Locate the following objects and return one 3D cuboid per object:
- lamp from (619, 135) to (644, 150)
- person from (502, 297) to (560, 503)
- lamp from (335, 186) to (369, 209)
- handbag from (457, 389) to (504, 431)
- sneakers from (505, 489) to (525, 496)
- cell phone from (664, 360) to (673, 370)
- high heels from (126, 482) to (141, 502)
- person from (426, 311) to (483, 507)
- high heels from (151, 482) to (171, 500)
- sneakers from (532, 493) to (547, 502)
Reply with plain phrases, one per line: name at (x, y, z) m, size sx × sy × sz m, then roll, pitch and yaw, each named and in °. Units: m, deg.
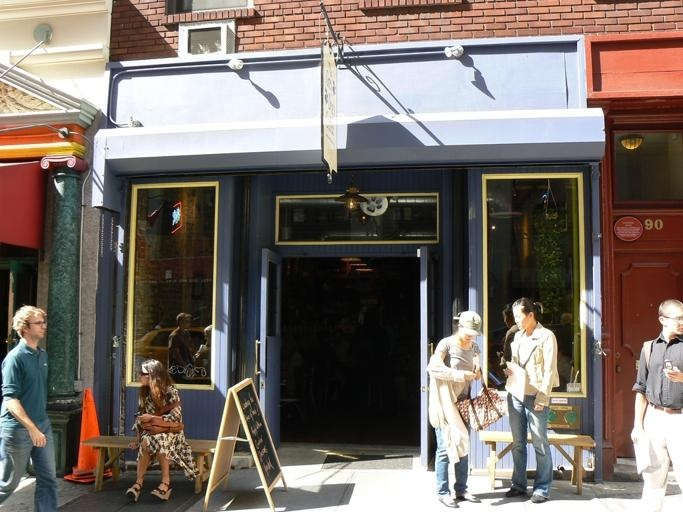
lamp at (3.909, -1.535, 11.051) m, size 0.317 × 0.208 × 0.058 m, roll -3°, pitch 8°, yaw -11°
person at (2.206, 1.765, 9.661) m, size 0.580 × 2.209 × 0.563 m, roll 3°, pitch 9°, yaw 28°
lamp at (0.118, -0.776, 11.340) m, size 0.320 × 0.268 × 0.337 m, roll 0°, pitch -1°, yaw 26°
handbag at (1.618, 1.829, 9.666) m, size 0.488 × 0.517 × 0.215 m, roll -19°, pitch -28°, yaw -18°
sneakers at (2.057, 2.841, 9.729) m, size 0.238 × 0.112 × 0.093 m, roll 3°, pitch -1°, yaw -5°
cell phone at (3.411, 1.127, 8.515) m, size 0.081 × 0.087 × 0.161 m, roll 2°, pitch 10°, yaw 21°
high heels at (-2.495, 2.808, 9.718) m, size 0.100 × 0.129 × 0.321 m, roll 10°, pitch -49°, yaw 1°
person at (1.337, 1.782, 9.564) m, size 0.618 × 2.226 × 0.490 m, roll -4°, pitch 8°, yaw -20°
high heels at (-2.156, 2.821, 9.706) m, size 0.109 × 0.136 × 0.318 m, roll 2°, pitch -22°, yaw 7°
sneakers at (2.294, 2.830, 9.508) m, size 0.140 × 0.054 × 0.090 m, roll -9°, pitch 15°, yaw -14°
